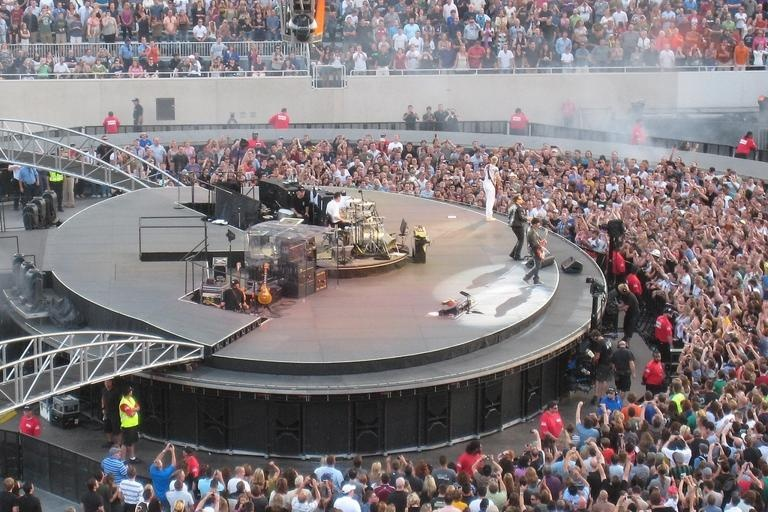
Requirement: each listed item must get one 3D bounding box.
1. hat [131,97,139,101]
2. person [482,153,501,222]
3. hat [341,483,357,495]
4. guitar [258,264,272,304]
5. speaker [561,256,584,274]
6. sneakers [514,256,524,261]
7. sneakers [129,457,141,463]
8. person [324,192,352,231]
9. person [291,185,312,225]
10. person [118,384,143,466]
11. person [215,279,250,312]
[{"bbox_3d":[-11.705,-7.271,80.977,0.312,0.158,0.216,5,-3,-19],"label":"hat"},{"bbox_3d":[4.441,-2.726,70.106,0.832,2.641,0.748,1,11,-10],"label":"person"},{"bbox_3d":[-1.090,7.285,54.284,0.275,0.143,0.372,9,13,44],"label":"hat"},{"bbox_3d":[-4.340,1.059,62.272,0.522,1.391,1.284,-1,10,-4],"label":"guitar"},{"bbox_3d":[7.207,0.367,66.012,0.832,0.421,0.477,-1,28,-13],"label":"speaker"},{"bbox_3d":[5.181,0.110,66.085,0.444,0.169,0.132,-5,12,-7],"label":"sneakers"},{"bbox_3d":[-8.488,6.892,58.624,0.493,0.201,0.175,0,11,-8],"label":"sneakers"},{"bbox_3d":[-1.756,-1.600,65.640,0.775,1.306,0.889,-25,45,-34],"label":"person"},{"bbox_3d":[-3.231,-1.992,68.479,0.741,1.338,0.893,-1,10,-6],"label":"person"},{"bbox_3d":[-8.687,5.723,58.561,0.576,2.388,0.736,-3,10,-13],"label":"person"},{"bbox_3d":[-5.450,1.808,61.793,1.119,1.793,0.561,2,21,-7],"label":"person"}]
